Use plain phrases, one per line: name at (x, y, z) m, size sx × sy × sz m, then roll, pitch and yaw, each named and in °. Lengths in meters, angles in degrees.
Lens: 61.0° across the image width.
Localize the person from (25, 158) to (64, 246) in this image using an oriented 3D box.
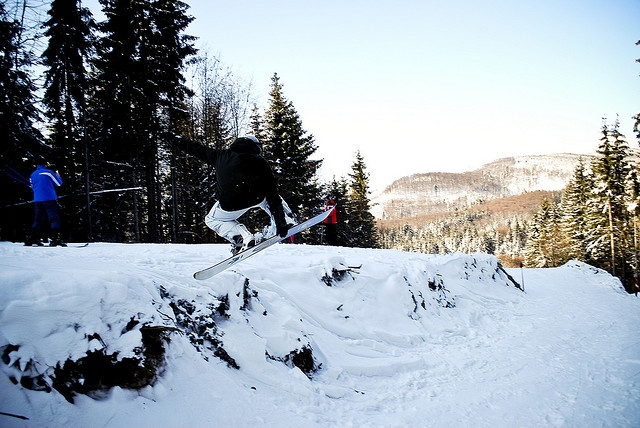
person at (-9.021, -0.371, 17.902) m, size 1.190 × 2.507 × 0.929 m, roll 2°, pitch 0°, yaw -7°

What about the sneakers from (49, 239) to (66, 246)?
sneakers at (-8.524, 0.960, 17.658) m, size 0.576 × 0.178 × 0.291 m, roll 2°, pitch 0°, yaw -8°

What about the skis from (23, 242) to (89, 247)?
skis at (-8.831, 1.024, 18.014) m, size 2.099 × 0.268 × 0.169 m, roll 0°, pitch -3°, yaw -4°

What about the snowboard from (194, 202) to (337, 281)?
snowboard at (-1.876, 0.939, 19.320) m, size 5.277 × 0.278 × 0.610 m, roll -28°, pitch -20°, yaw -17°
